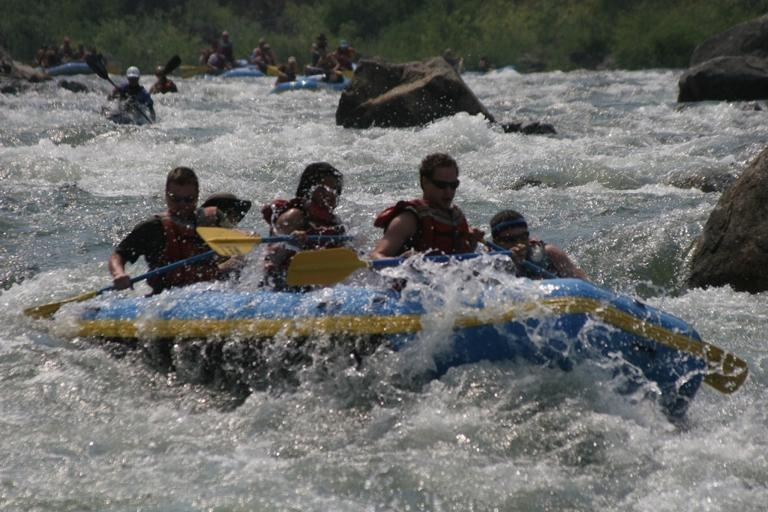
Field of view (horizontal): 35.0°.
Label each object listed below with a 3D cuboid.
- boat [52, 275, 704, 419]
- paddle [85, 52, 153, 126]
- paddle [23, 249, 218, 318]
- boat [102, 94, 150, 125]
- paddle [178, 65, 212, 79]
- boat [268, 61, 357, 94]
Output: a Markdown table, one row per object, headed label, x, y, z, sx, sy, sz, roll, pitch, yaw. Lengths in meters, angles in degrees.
| label | x | y | z | sx | sy | sz | roll | pitch | yaw |
| --- | --- | --- | --- | --- | --- | --- | --- | --- | --- |
| boat | -0.374 | 0.858 | 20.063 | 10.770 | 1.649 | 3.246 | 1 | 12 | 10 |
| paddle | -5.843 | -3.506 | 27.503 | 0.922 | 0.894 | 2.594 | -2 | -13 | 7 |
| paddle | -4.417 | 0.505 | 20.575 | 2.747 | 0.400 | 0.134 | -18 | 39 | -1 |
| boat | -5.790 | -3.260 | 27.357 | 0.679 | 0.341 | 0.882 | 6 | 2 | -20 |
| paddle | -6.003 | -5.925 | 39.449 | 0.219 | 0.411 | 1.586 | -5 | 2 | 34 |
| boat | -2.035 | -4.734 | 33.676 | 2.410 | 0.405 | 1.286 | -3 | 5 | 3 |
